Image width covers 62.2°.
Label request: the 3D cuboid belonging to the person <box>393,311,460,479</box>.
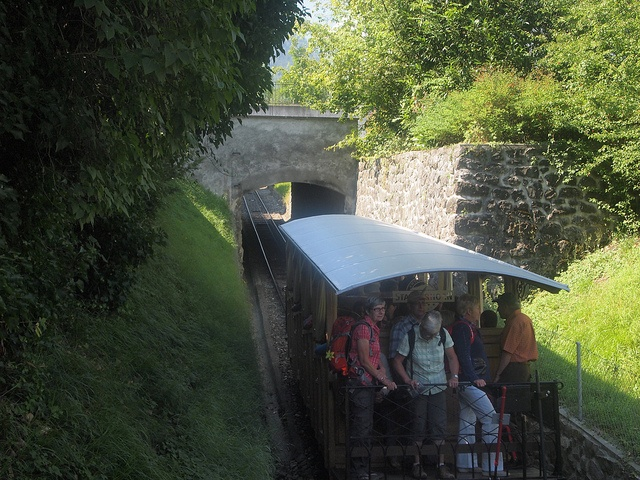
[{"bbox_3d":[1.278,1.837,6.485,0.779,1.910,0.981,3,15,15],"label":"person"}]
